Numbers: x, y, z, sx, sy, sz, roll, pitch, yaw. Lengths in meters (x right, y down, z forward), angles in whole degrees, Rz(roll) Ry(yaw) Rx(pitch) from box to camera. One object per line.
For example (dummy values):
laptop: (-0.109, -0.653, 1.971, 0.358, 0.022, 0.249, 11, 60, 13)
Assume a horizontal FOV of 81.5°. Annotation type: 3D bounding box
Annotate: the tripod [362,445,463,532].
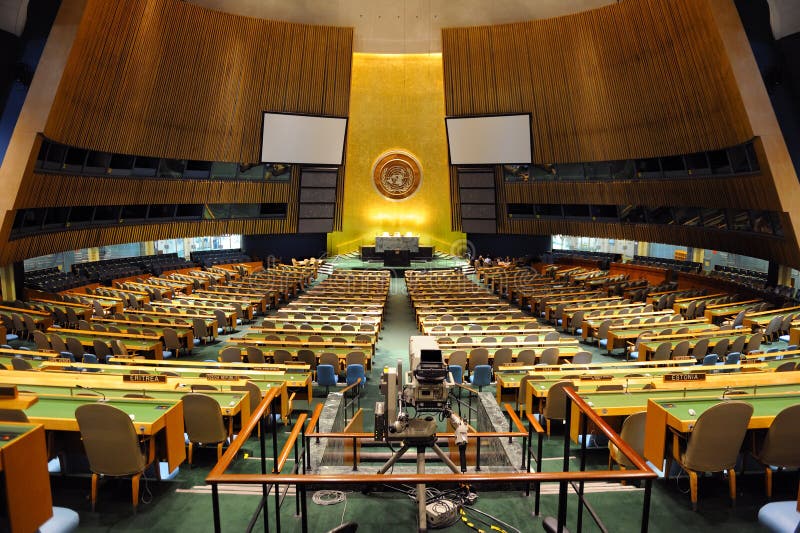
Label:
tripod: (0.227, 2.755, 6.104, 1.001, 0.909, 2.677, 0, -7, 9)
